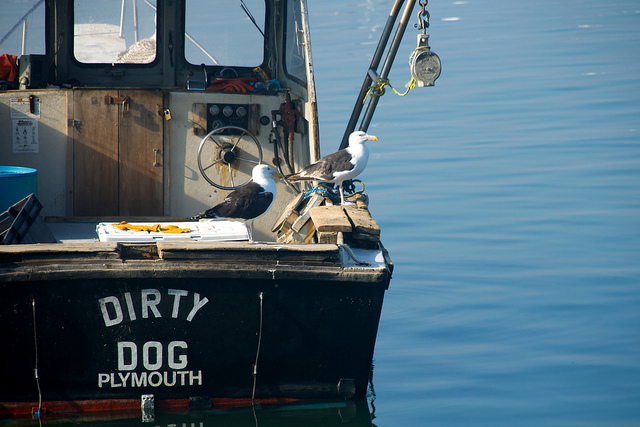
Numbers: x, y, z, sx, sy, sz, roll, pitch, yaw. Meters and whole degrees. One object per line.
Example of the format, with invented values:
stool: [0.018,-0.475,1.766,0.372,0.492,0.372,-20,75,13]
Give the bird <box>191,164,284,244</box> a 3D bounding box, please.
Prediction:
bird: [-0.942,-0.131,18.737,0.877,0.819,0.451,-1,14,-9]

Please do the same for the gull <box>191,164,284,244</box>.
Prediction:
gull: [-1.000,-0.117,18.847,1.175,0.813,0.502,-4,9,-21]

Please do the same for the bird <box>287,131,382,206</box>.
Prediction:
bird: [0.136,-0.556,19.248,1.177,0.760,0.468,-6,12,-5]
